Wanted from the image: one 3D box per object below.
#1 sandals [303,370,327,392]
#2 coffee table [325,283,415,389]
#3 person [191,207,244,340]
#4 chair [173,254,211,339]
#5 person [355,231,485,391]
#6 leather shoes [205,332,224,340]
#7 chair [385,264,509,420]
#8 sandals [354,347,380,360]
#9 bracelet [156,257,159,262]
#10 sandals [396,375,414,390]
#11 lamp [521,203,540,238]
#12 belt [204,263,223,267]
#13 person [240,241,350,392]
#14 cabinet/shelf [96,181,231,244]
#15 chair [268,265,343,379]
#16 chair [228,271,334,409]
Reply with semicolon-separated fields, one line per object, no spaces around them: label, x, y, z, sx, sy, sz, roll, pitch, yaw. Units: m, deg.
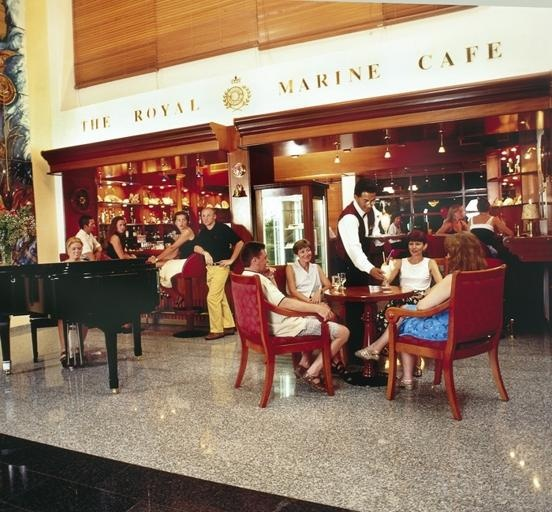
sandals;0.296;1.042;4.115;0.221;0.082;0.110;19;9;35
coffee table;0.790;0.699;4.463;0.944;0.796;0.976;-1;-1;-28
person;-0.812;0.202;6.657;0.749;1.716;0.583;-4;-1;21
chair;-1.202;0.451;6.854;0.680;1.247;0.565;-3;-4;-7
person;1.274;0.558;3.789;0.734;0.929;0.702;2;6;30
leather shoes;-0.795;1.053;6.430;0.076;0.087;0.230;-3;-9;44
chair;1.298;0.589;3.766;0.940;0.945;0.870;-1;1;6
sandals;0.766;0.848;4.230;0.220;0.085;0.097;-1;1;39
bracelet;-1.683;0.050;7.055;0.022;0.054;0.042;-2;9;-40
sandals;1.057;1.040;4.067;0.076;0.073;0.189;-1;5;-7
lamp;3.827;-0.565;7.442;0.206;0.468;0.837;-1;4;27
belt;-0.806;0.122;6.536;0.248;0.055;0.090;-1;4;26
person;0.118;0.491;4.173;0.896;1.147;0.660;1;-3;-15
cabinet/shelf;-2.575;-0.878;11.090;2.995;1.239;0.369;-1;-1;9
chair;0.151;0.624;4.135;0.767;0.930;0.650;-4;-8;4
chair;0.023;0.626;4.060;0.683;1.000;0.613;-4;4;-18
